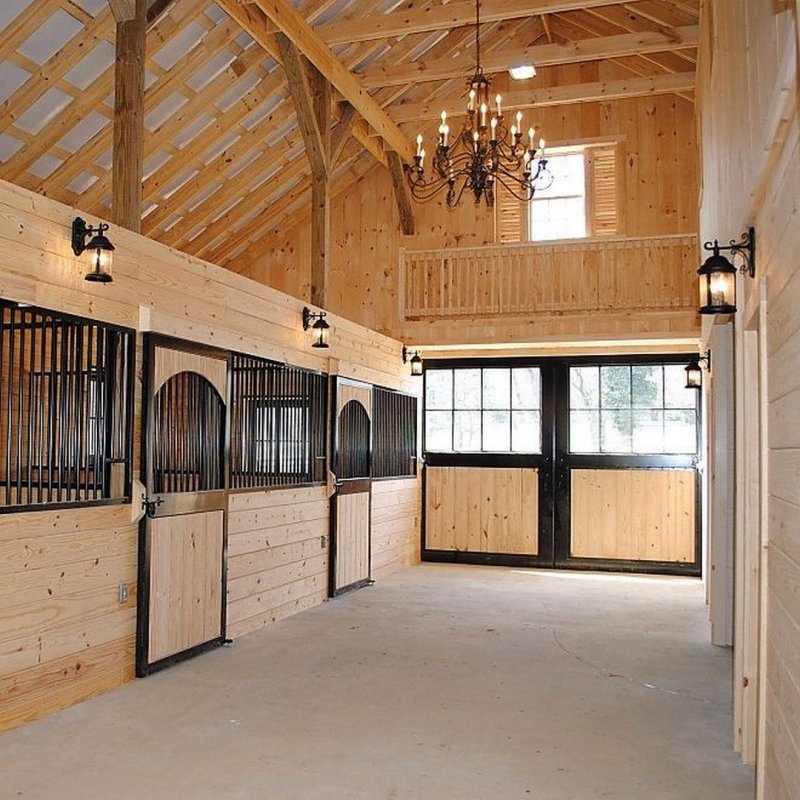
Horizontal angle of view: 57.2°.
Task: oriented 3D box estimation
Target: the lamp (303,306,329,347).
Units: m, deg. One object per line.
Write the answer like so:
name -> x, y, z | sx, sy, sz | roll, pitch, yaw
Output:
lamp -> -0.695, -0.622, 6.397 | 0.221, 0.355, 0.503 | 0, -4, 13

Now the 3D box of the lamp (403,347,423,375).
lamp -> 0.160, -0.477, 8.848 | 0.190, 0.327, 0.349 | 0, -4, 16

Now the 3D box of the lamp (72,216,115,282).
lamp -> -1.625, -0.783, 3.828 | 0.207, 0.369, 0.385 | 3, -5, -24
